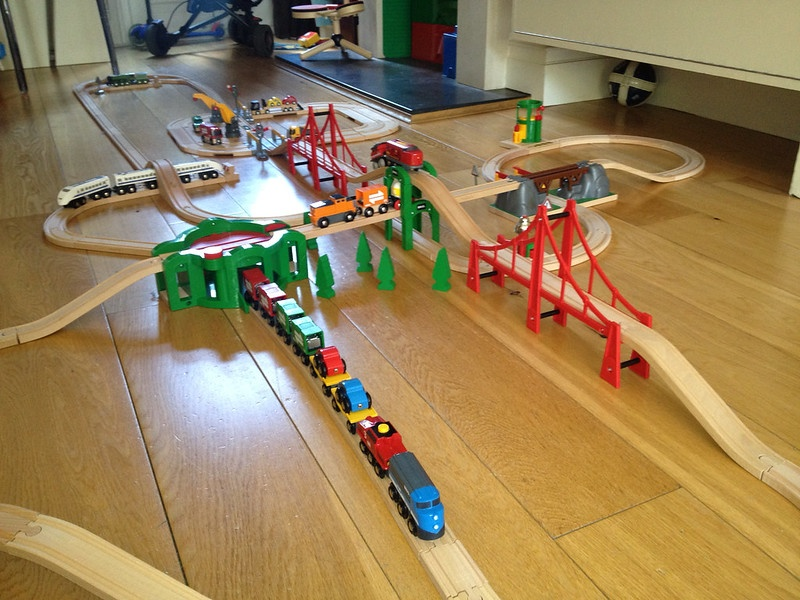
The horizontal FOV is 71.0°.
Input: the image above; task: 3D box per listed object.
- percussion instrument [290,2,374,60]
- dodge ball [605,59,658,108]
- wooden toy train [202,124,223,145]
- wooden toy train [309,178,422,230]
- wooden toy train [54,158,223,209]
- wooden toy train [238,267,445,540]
[{"bbox_3d":[-1.053,-4.607,9.777,1.542,1.198,1.244,-8,35,-13],"label":"percussion instrument"},{"bbox_3d":[2.794,-2.678,6.948,0.715,0.523,0.565,-16,35,-21],"label":"dodge ball"},{"bbox_3d":[-2.117,-1.840,6.199,0.197,0.161,0.302,-20,43,-29],"label":"wooden toy train"},{"bbox_3d":[-0.300,-0.650,3.832,0.998,0.304,0.244,-14,34,-15],"label":"wooden toy train"},{"bbox_3d":[-2.317,-1.021,4.987,1.969,0.245,0.230,-13,23,-18],"label":"wooden toy train"},{"bbox_3d":[-0.280,0.486,2.562,0.171,0.217,1.795,-23,43,-23],"label":"wooden toy train"}]
